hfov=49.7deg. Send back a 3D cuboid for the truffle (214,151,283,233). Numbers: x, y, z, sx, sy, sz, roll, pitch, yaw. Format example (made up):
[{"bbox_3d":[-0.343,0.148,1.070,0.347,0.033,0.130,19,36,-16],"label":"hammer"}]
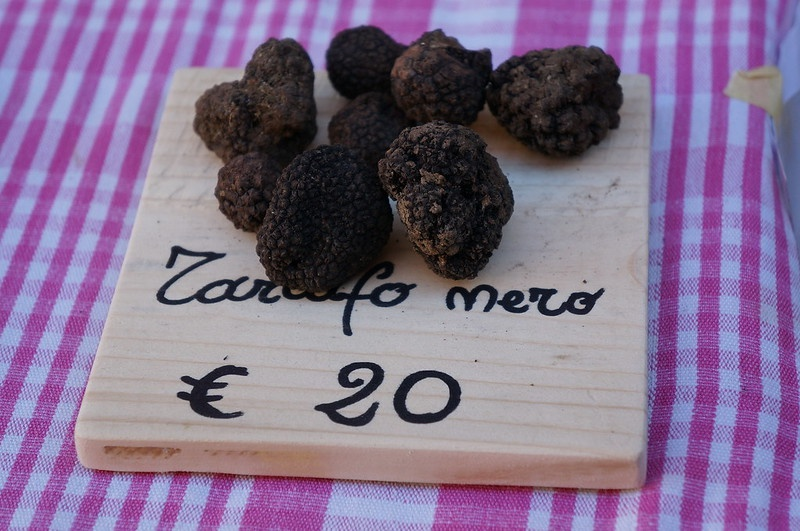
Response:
[{"bbox_3d":[-0.271,-0.141,1.613,0.124,0.121,0.141,-2,19,-6],"label":"truffle"}]

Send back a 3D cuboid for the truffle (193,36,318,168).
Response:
[{"bbox_3d":[-0.259,-0.309,1.616,0.253,0.096,0.210,-1,57,6],"label":"truffle"}]

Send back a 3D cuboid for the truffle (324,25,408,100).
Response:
[{"bbox_3d":[-0.075,-0.396,1.746,0.161,0.134,0.121,-17,75,-9],"label":"truffle"}]

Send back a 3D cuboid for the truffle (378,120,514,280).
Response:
[{"bbox_3d":[0.075,-0.120,1.522,0.233,0.208,0.215,22,63,13],"label":"truffle"}]

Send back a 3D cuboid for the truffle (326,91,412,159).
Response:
[{"bbox_3d":[-0.056,-0.271,1.632,0.123,0.062,0.144,24,58,28],"label":"truffle"}]
